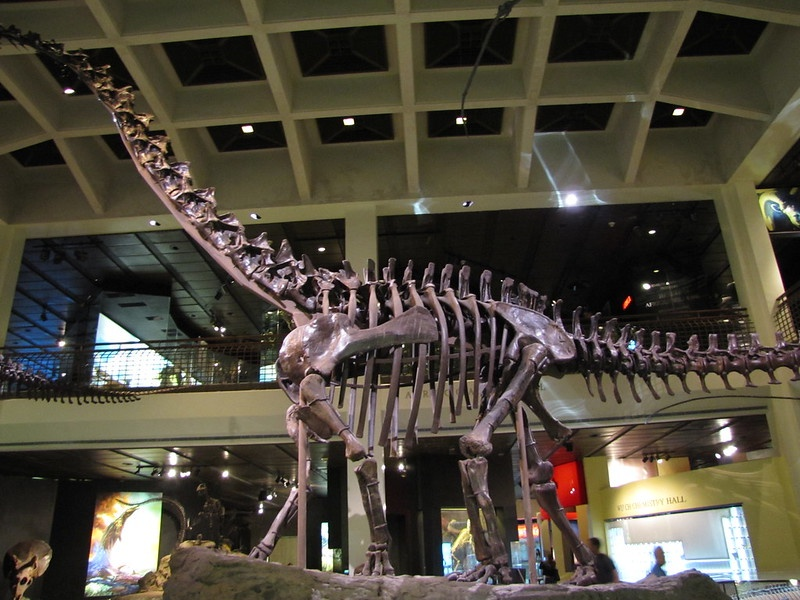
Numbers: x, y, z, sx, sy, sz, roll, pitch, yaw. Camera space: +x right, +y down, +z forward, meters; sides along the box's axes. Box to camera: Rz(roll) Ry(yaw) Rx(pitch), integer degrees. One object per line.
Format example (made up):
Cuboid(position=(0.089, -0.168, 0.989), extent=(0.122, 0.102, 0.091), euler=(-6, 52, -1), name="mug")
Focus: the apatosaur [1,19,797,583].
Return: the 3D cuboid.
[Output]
Cuboid(position=(0.208, 0.185, 6.341), extent=(8.203, 5.278, 1.202), euler=(5, -30, -13), name="apatosaur")
